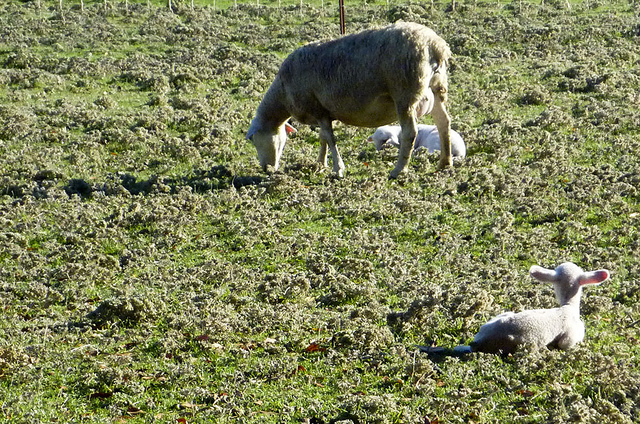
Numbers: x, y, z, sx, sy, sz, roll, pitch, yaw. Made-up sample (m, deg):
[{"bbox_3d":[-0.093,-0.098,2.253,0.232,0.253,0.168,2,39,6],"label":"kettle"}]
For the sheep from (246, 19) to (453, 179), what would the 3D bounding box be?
[{"bbox_3d":[0.647,-2.817,31.082,5.636,3.998,2.659,-2,6,22],"label":"sheep"}]

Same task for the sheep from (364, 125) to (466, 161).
[{"bbox_3d":[2.549,-1.738,31.648,2.434,1.247,0.988,6,7,17],"label":"sheep"}]
